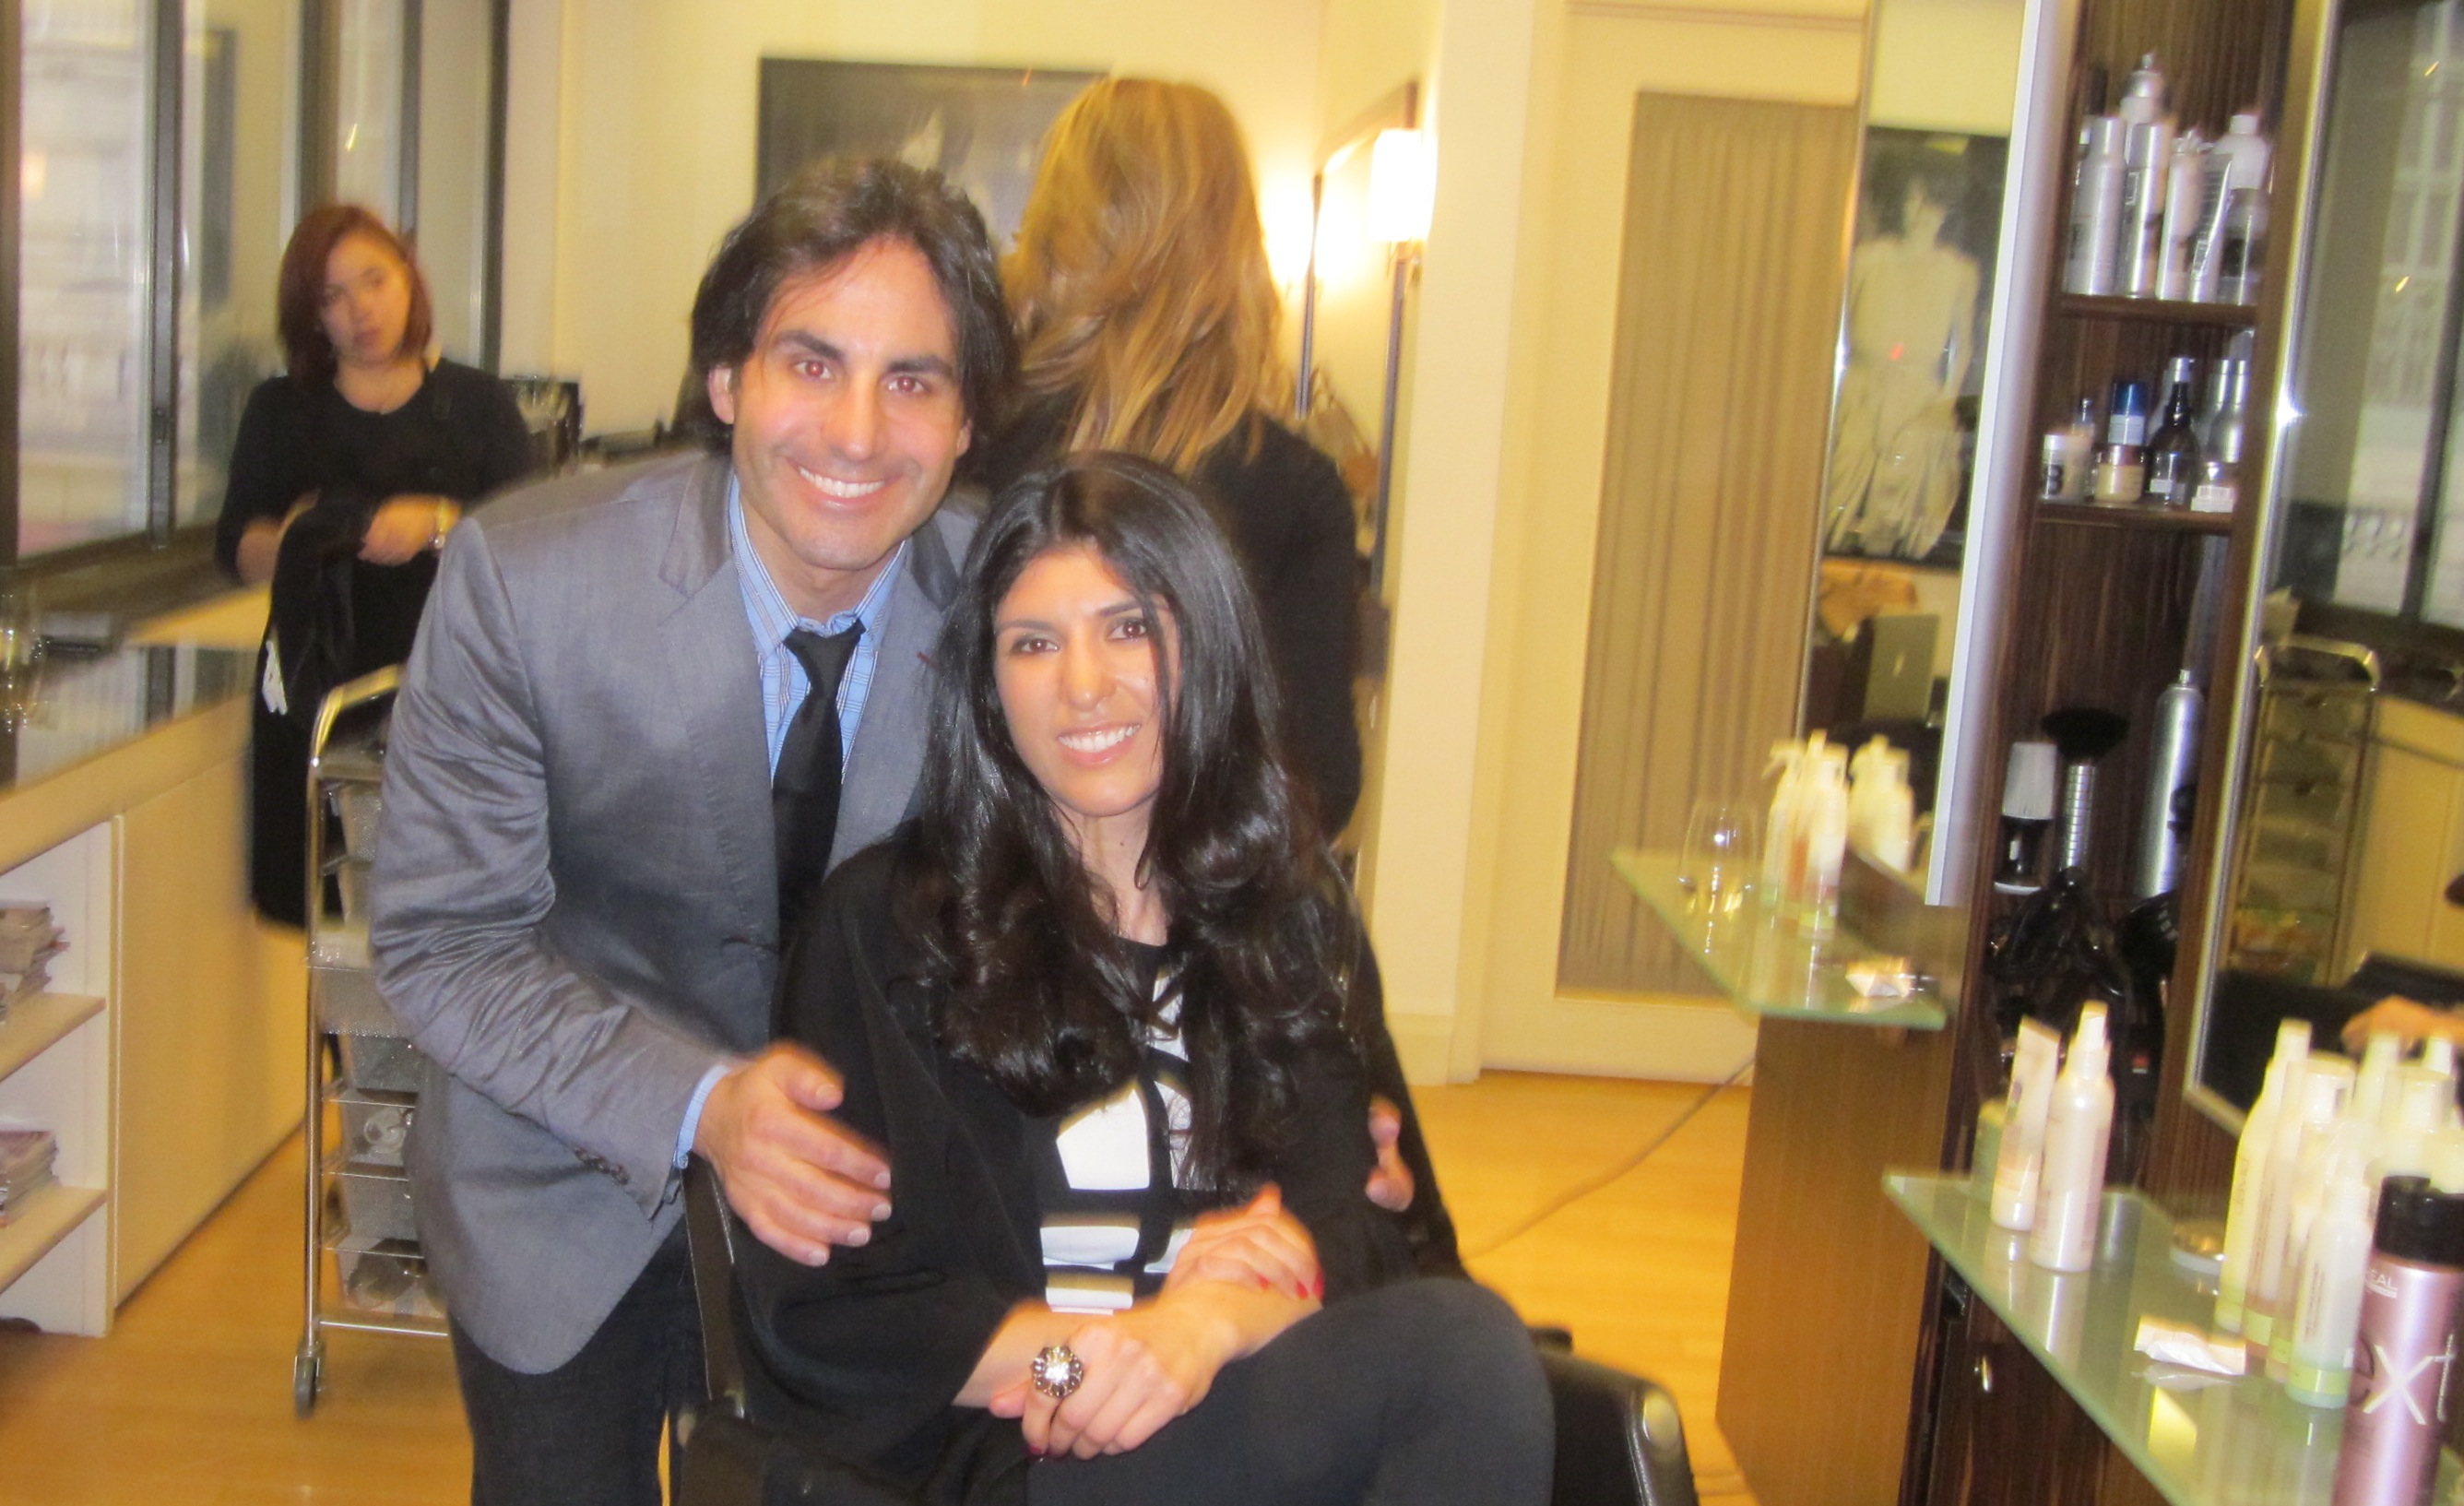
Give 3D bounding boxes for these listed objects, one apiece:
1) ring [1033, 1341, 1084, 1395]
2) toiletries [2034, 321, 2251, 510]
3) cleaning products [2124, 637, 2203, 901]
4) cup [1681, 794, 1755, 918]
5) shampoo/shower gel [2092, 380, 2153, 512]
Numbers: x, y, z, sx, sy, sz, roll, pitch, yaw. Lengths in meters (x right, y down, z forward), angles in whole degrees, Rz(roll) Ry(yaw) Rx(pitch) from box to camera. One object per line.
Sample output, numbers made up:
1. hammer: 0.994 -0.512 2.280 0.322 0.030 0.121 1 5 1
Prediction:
1. ring: -0.220 0.782 2.396 0.065 0.067 0.023 4 9 14
2. toiletries: 1.552 -0.576 3.245 0.429 0.373 0.137 2 -5 -1
3. cleaning products: 1.683 0.036 3.378 0.074 0.434 0.082 9 0 -27
4. cup: 0.969 0.203 3.772 0.131 0.210 0.207 5 8 14
5. shampoo/shower gel: 1.533 -0.541 3.251 0.088 0.219 0.164 7 9 26
